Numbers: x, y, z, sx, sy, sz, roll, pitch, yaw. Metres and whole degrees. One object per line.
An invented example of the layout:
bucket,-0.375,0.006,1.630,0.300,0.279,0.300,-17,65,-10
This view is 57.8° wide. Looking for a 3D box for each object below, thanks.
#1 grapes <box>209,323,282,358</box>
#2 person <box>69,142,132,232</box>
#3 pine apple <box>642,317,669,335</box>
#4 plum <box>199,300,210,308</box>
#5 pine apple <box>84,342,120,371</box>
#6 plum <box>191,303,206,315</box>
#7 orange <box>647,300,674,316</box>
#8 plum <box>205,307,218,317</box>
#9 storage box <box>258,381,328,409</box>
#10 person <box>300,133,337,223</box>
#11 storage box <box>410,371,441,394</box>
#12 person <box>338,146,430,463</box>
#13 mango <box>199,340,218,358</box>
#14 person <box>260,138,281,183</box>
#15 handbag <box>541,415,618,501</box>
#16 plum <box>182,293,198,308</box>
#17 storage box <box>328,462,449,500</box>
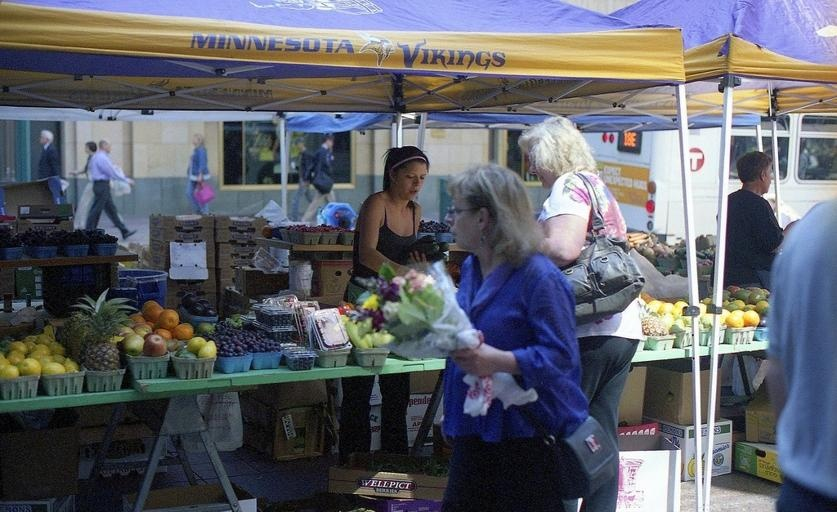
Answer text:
grapes,-1.346,0.644,5.870,0.514,0.199,0.381,0,3,-22
person,-6.425,-1.361,15.459,1.166,2.259,0.927,-3,-2,21
pine apple,2.110,0.635,6.787,0.260,0.152,0.078,-1,2,-28
plum,-1.865,0.423,6.608,0.060,0.043,0.063,-1,2,-3
pine apple,-2.262,0.723,5.442,0.227,0.160,0.189,3,5,-16
plum,-1.879,0.463,6.510,0.094,0.103,0.091,0,24,22
orange,2.290,0.496,7.289,0.188,0.072,0.187,-3,2,-23
plum,-1.801,0.510,6.637,0.103,0.101,0.134,-7,15,-10
storage box,-1.198,1.333,7.283,0.612,0.275,0.576,-2,-2,-10
person,-2.222,-1.735,17.435,1.160,2.020,0.707,-7,15,-16
storage box,0.044,1.240,7.447,0.332,0.285,0.087,3,8,-16
person,-0.226,0.486,6.840,0.894,2.884,0.981,-2,5,-38
mango,-1.558,0.692,5.586,0.113,0.114,0.063,-1,3,-38
person,-3.957,-2.528,20.205,0.527,1.217,0.216,0,2,-26
handbag,0.825,1.209,4.790,0.363,0.551,1.046,-1,0,3
plum,-1.991,0.379,6.605,0.123,0.116,0.133,4,45,2
storage box,-0.258,1.831,6.097,1.216,0.246,0.444,-3,8,16
